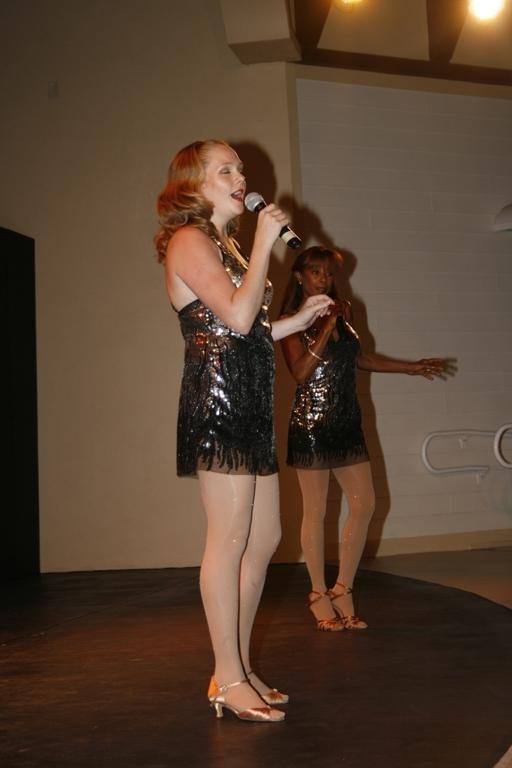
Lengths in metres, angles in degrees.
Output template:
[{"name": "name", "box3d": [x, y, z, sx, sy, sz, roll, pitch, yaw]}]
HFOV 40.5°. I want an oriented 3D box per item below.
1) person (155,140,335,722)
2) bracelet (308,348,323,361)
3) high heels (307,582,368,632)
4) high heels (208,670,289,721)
[{"name": "person", "box3d": [-0.093, 0.096, 1.788, 0.391, 1.458, 0.478, 2, 4, 1]}, {"name": "bracelet", "box3d": [0.235, -0.112, 2.756, 0.047, 0.011, 0.043, 40, -4, 5]}, {"name": "high heels", "box3d": [0.312, 0.870, 2.670, 0.103, 0.101, 0.269, 0, -6, -19]}, {"name": "high heels", "box3d": [-0.033, 0.752, 1.689, 0.246, 0.122, 0.080, -3, -5, 10]}]
